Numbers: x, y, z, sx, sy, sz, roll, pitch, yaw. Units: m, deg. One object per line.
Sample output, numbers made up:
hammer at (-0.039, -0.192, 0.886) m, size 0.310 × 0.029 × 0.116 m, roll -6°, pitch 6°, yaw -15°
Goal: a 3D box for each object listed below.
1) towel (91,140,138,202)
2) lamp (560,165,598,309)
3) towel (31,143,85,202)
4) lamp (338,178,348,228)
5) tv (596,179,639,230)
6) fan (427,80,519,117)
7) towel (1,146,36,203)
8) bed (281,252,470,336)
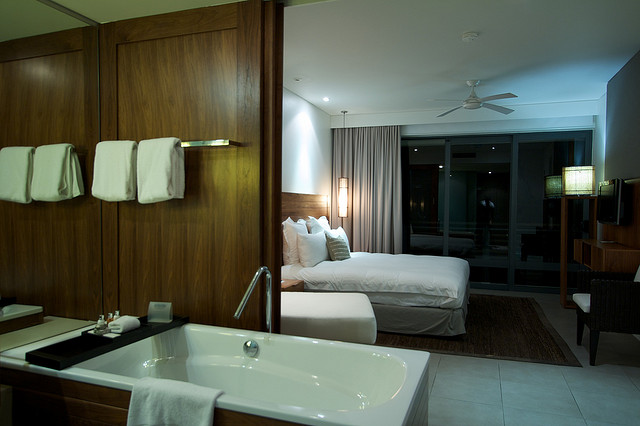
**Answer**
towel at (-1.591, -0.334, 3.519) m, size 0.477 × 0.604 × 0.158 m, roll 1°, pitch 0°, yaw 19°
lamp at (3.734, 0.272, 6.487) m, size 0.418 × 1.844 × 0.377 m, roll -4°, pitch -7°, yaw 43°
towel at (-2.087, -0.329, 3.554) m, size 0.455 × 0.503 × 0.248 m, roll -1°, pitch -4°, yaw -2°
lamp at (0.398, -0.284, 7.908) m, size 0.162 × 0.679 × 0.142 m, roll -1°, pitch 8°, yaw -5°
tv at (3.612, -0.113, 5.451) m, size 0.335 × 0.640 × 0.666 m, roll -1°, pitch -3°, yaw 10°
fan at (2.178, -1.585, 6.065) m, size 0.628 × 0.432 × 1.277 m, roll 0°, pitch 7°, yaw 2°
towel at (-2.322, -0.307, 3.444) m, size 0.114 × 0.344 × 0.344 m, roll 0°, pitch -1°, yaw 22°
bed at (0.838, 0.944, 6.249) m, size 2.318 × 0.746 × 2.101 m, roll 1°, pitch 7°, yaw 14°
